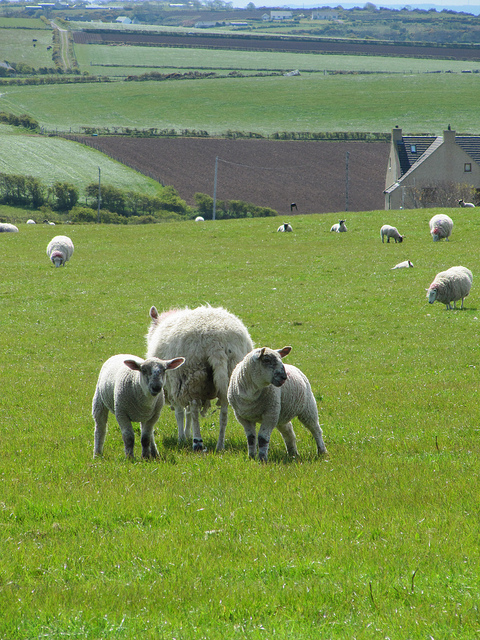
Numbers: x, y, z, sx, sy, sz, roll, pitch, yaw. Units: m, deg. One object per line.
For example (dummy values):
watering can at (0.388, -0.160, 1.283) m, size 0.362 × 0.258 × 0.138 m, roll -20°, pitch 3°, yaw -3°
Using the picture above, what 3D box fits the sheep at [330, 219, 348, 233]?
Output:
sheep at (4.391, -4.173, 59.425) m, size 0.384 × 0.749 × 0.859 m, roll -6°, pitch 6°, yaw -24°

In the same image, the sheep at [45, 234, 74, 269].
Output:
sheep at (-6.679, -2.507, 49.275) m, size 0.578 × 1.022 × 1.661 m, roll -1°, pitch 20°, yaw -2°

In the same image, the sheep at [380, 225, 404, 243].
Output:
sheep at (6.072, -3.505, 54.230) m, size 0.396 × 0.803 × 1.290 m, roll 4°, pitch 2°, yaw 28°

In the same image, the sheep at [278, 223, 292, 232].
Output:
sheep at (2.062, -4.162, 60.270) m, size 0.259 × 0.504 × 0.602 m, roll -1°, pitch 5°, yaw -13°

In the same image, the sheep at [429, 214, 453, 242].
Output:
sheep at (7.938, -3.731, 53.233) m, size 0.564 × 0.910 × 1.409 m, roll -2°, pitch 1°, yaw 9°

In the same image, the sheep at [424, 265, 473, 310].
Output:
sheep at (6.080, -0.921, 38.921) m, size 1.306 × 1.202 × 0.999 m, roll -4°, pitch 8°, yaw -27°

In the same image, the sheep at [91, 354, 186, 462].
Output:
sheep at (-1.653, 1.265, 19.807) m, size 0.887 × 1.579 × 2.139 m, roll -4°, pitch 8°, yaw -26°

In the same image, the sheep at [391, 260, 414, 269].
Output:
sheep at (5.632, -1.928, 46.794) m, size 0.773 × 0.431 × 0.345 m, roll -1°, pitch 28°, yaw -1°

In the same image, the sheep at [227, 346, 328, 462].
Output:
sheep at (0.492, 1.273, 20.000) m, size 0.690 × 1.748 × 2.359 m, roll 3°, pitch -1°, yaw 30°
